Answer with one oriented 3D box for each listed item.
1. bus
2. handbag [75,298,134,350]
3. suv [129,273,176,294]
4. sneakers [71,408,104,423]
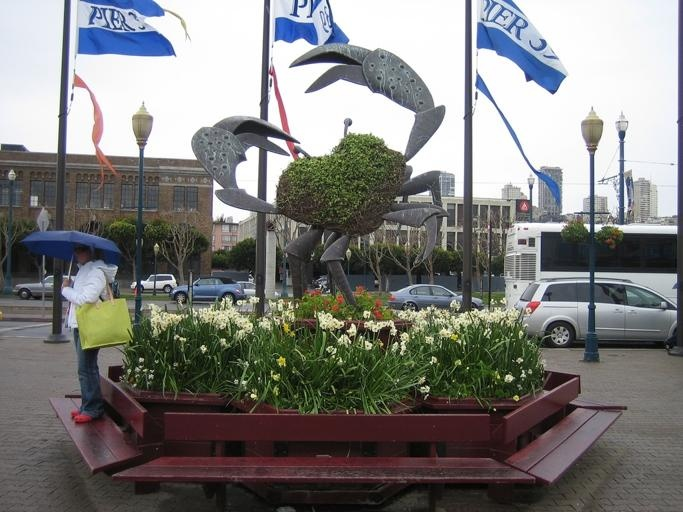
[{"bbox_3d":[8.258,0.281,25.889,6.007,2.998,2.491,-1,1,-2],"label":"bus"},{"bbox_3d":[-3.007,0.843,9.718,0.504,0.651,0.225,-5,-4,-18],"label":"handbag"},{"bbox_3d":[-11.470,2.043,47.374,2.783,1.416,1.738,2,-1,-3],"label":"suv"},{"bbox_3d":[-3.326,2.017,9.821,0.165,0.062,0.257,-17,30,-39],"label":"sneakers"}]
